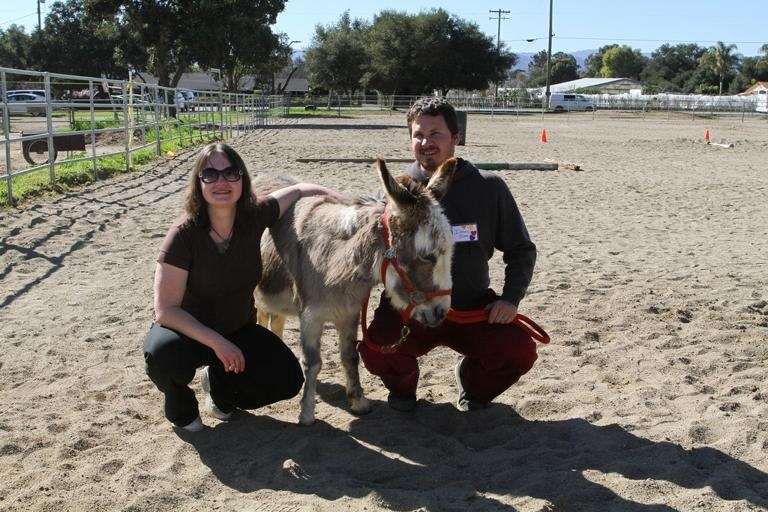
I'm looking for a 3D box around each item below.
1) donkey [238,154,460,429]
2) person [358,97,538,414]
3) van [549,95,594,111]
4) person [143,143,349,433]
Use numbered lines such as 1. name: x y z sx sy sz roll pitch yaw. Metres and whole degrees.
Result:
1. donkey: -0.545 0.339 6.800 1.018 2.363 3.054 -2 5 -39
2. person: 0.584 0.124 6.624 1.043 2.966 1.414 2 3 31
3. van: 14.045 -11.697 54.788 3.500 1.231 1.582 -11 19 -29
4. person: -1.390 0.287 6.304 1.023 2.761 1.198 -2 3 -41
